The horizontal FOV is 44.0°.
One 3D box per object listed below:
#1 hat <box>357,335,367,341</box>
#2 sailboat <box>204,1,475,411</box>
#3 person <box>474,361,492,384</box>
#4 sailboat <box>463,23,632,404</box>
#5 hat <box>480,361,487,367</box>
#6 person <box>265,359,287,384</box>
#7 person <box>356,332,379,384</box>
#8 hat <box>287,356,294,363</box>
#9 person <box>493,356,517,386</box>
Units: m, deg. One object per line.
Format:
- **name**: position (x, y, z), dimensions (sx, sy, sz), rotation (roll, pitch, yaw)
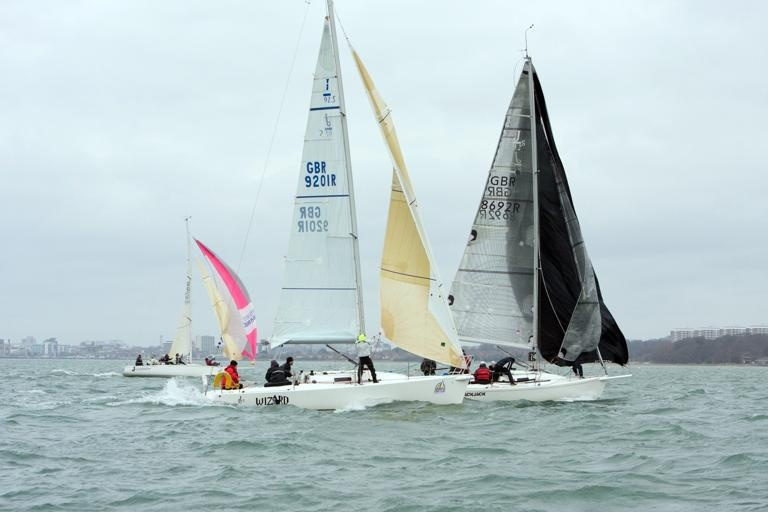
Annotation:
- **hat**: position (-0.712, 2.587, 30.045), dimensions (0.204, 0.197, 0.396), rotation (0, 5, -9)
- **sailboat**: position (-1.024, -1.381, 30.306), dimensions (6.425, 12.369, 2.419), rotation (0, 5, -8)
- **person**: position (3.476, 4.137, 33.236), dimensions (0.534, 0.716, 0.742), rotation (1, 1, 13)
- **sailboat**: position (5.317, -1.039, 33.862), dimensions (5.302, 12.350, 2.712), rotation (1, 5, 5)
- **hat**: position (3.443, 3.829, 33.439), dimensions (0.202, 0.268, 0.276), rotation (-1, -7, 10)
- **person**: position (-3.481, 3.796, 30.545), dimensions (0.700, 0.940, 0.701), rotation (0, -21, -5)
- **person**: position (-0.551, 3.265, 30.044), dimensions (0.677, 1.543, 0.561), rotation (0, 5, -2)
- **hat**: position (-3.156, 3.490, 31.754), dimensions (0.194, 0.178, 0.192), rotation (-1, -2, 19)
- **person**: position (4.183, 4.005, 33.311), dimensions (0.797, 0.853, 0.888), rotation (1, 5, 0)
